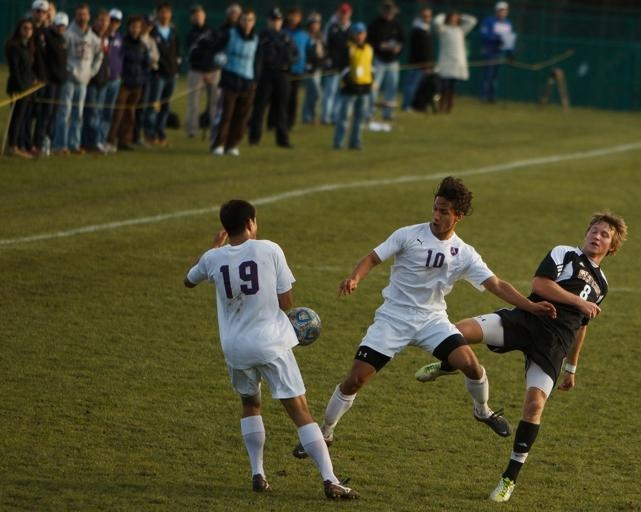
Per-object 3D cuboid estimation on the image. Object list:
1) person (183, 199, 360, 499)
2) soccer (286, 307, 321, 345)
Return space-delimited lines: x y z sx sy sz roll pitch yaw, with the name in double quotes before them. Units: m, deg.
"person" -0.503 0.850 12.072 1.549 2.683 0.573 9 10 30
"soccer" -0.136 0.682 12.613 0.343 0.376 0.331 -12 6 -38
